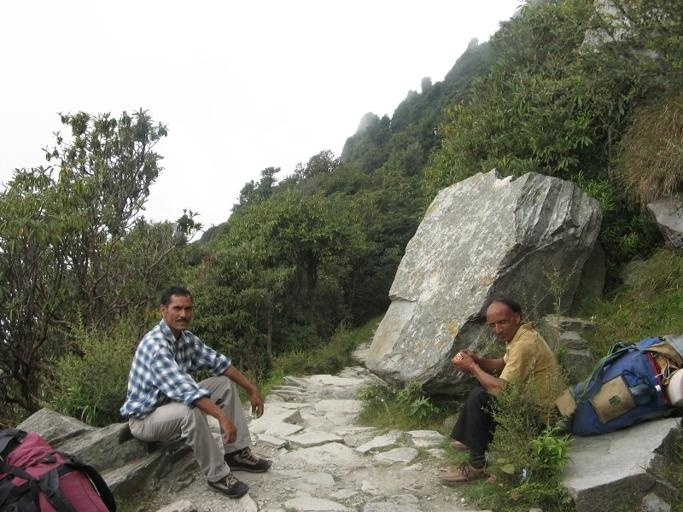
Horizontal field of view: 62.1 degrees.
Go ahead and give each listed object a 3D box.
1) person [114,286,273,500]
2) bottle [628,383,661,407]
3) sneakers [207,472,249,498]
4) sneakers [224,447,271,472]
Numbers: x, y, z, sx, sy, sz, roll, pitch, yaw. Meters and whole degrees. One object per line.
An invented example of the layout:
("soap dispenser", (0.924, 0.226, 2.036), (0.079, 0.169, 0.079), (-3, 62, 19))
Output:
("person", (-1.662, 1.514, 6.257), (1.414, 2.407, 0.901), (-11, -10, -24))
("bottle", (3.093, 1.411, 5.748), (0.276, 0.213, 0.091), (-17, -10, -1))
("sneakers", (-1.183, 2.433, 6.005), (0.446, 0.213, 0.196), (4, 6, 23))
("sneakers", (-1.081, 2.343, 6.600), (0.600, 0.312, 0.225), (1, 3, -5))
